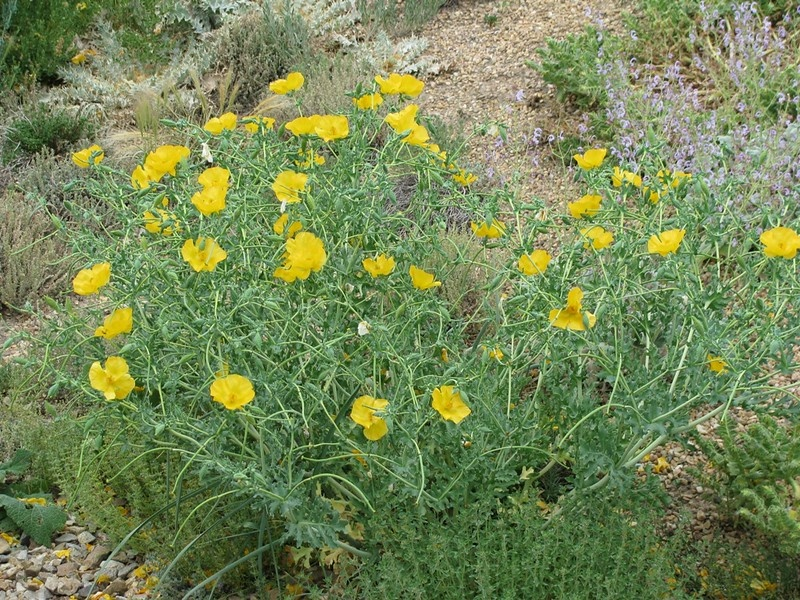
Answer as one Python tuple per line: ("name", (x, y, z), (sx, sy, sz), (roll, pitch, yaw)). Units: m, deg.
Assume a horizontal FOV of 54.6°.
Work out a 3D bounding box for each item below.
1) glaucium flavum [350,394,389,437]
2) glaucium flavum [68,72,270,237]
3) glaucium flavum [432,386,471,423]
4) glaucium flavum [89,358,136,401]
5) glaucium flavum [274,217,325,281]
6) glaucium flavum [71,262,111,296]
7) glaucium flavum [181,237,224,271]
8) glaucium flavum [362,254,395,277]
("glaucium flavum", (-0.101, 0.453, 2.808), (0.127, 0.138, 0.056), (5, 28, -6))
("glaucium flavum", (-0.936, -0.566, 3.153), (0.632, 0.241, 0.421), (-35, 81, -24))
("glaucium flavum", (0.175, 0.369, 2.775), (0.093, 0.115, 0.124), (-38, 50, -19))
("glaucium flavum", (-1.009, 0.267, 2.694), (0.131, 0.060, 0.133), (-37, 41, -26))
("glaucium flavum", (-0.374, -0.191, 2.948), (0.116, 0.223, 0.233), (-37, 17, -32))
("glaucium flavum", (-1.113, -0.099, 2.802), (0.116, 0.060, 0.139), (-41, 48, 6))
("glaucium flavum", (-0.715, -0.163, 2.812), (0.133, 0.077, 0.131), (-1, 84, -16))
("glaucium flavum", (-0.075, -0.126, 2.957), (0.099, 0.094, 0.058), (-13, 9, 31))
